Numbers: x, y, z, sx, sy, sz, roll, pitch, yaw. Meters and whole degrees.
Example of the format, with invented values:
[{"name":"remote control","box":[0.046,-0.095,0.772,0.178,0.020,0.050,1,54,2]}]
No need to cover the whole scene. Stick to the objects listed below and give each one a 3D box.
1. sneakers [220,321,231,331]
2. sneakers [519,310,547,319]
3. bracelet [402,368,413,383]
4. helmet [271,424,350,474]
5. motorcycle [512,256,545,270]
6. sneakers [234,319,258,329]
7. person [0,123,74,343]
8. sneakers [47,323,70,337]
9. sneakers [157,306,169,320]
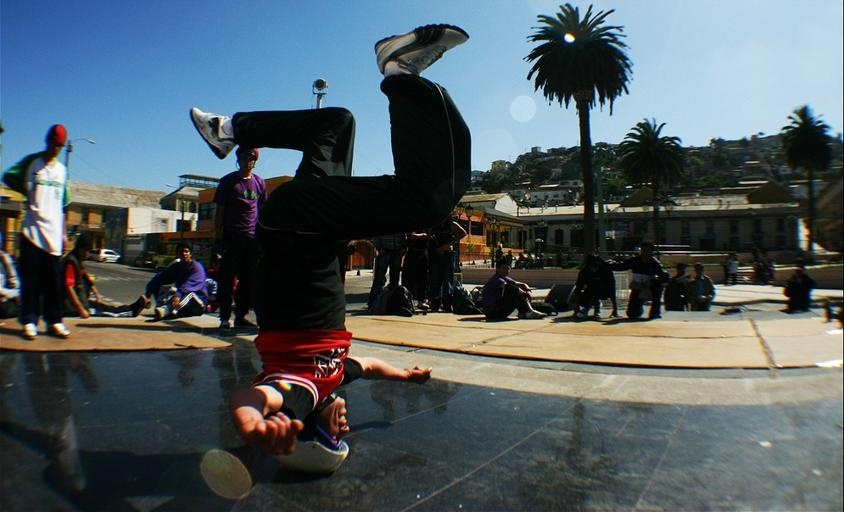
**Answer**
[{"name":"sneakers","box":[-2.270,0.812,6.107,0.132,0.131,0.095,-2,5,23]},{"name":"sneakers","box":[1.633,0.867,7.717,0.365,0.142,0.145,-1,-8,5]},{"name":"bracelet","box":[-0.099,0.811,3.570,0.026,0.067,0.068,1,0,28]},{"name":"helmet","box":[-0.616,1.047,2.912,0.327,0.185,0.264,-5,-9,9]},{"name":"motorcycle","box":[5.685,0.331,28.112,0.733,0.535,1.089,1,-7,-7]},{"name":"sneakers","box":[-2.097,0.808,6.234,0.248,0.104,0.096,5,-1,-31]},{"name":"person","box":[-3.627,-0.231,5.020,0.510,1.992,0.464,-6,13,-35]},{"name":"sneakers","box":[-3.540,0.713,5.132,0.262,0.115,0.095,8,2,29]},{"name":"sneakers","box":[-3.365,0.741,6.801,0.104,0.112,0.117,-25,5,16]}]
